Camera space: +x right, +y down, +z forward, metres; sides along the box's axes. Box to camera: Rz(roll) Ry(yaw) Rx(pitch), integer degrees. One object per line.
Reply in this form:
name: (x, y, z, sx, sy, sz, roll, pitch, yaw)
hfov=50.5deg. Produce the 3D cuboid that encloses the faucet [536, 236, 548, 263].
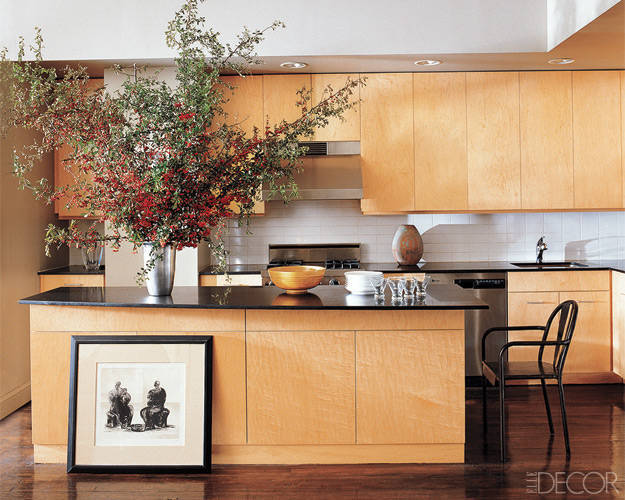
faucet: (2.168, -0.007, 6.271, 0.106, 0.253, 0.352, 4, 12, 20)

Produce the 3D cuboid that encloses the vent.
vent: (0.118, -0.781, 6.222, 0.884, 0.569, 0.468, 2, 20, 22)

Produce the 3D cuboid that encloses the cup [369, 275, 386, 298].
cup: (0.427, 0.237, 4.297, 0.126, 0.124, 0.125, -1, -3, 0)

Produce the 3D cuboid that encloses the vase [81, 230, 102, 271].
vase: (-2.013, 0.013, 6.077, 0.199, 0.292, 0.187, 3, 14, 6)

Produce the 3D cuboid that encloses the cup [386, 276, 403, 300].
cup: (0.559, 0.257, 4.416, 0.127, 0.120, 0.129, 0, -1, 0)

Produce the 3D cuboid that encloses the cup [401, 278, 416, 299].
cup: (0.640, 0.247, 4.315, 0.110, 0.109, 0.099, -5, 12, -20)

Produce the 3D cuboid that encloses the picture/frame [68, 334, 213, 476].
picture/frame: (-1.080, 1.023, 4.210, 0.954, 0.874, 0.062, 0, -8, 0)
